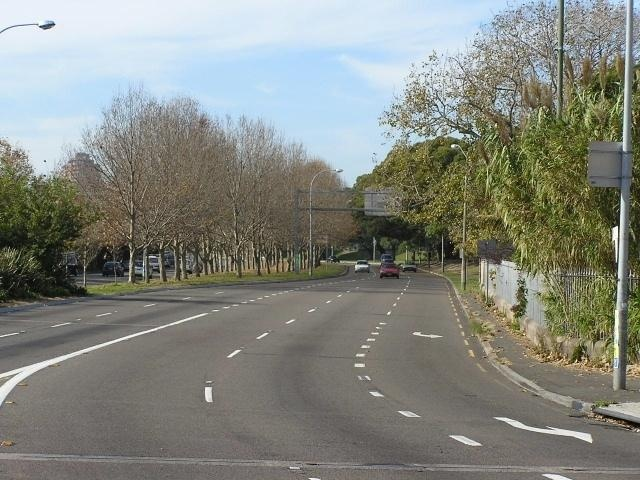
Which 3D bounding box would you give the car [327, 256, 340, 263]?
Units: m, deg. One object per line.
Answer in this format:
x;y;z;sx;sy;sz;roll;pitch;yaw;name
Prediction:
2.088;3.382;138.604;1.155;0.992;1.987;-1;-6;9;car

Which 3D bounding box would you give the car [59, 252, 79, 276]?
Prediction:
-16.651;1.525;52.698;1.427;1.688;2.850;0;-7;-9;car

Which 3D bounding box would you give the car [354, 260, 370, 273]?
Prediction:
4.954;3.202;96.127;1.270;1.214;3.281;-1;-5;2;car
